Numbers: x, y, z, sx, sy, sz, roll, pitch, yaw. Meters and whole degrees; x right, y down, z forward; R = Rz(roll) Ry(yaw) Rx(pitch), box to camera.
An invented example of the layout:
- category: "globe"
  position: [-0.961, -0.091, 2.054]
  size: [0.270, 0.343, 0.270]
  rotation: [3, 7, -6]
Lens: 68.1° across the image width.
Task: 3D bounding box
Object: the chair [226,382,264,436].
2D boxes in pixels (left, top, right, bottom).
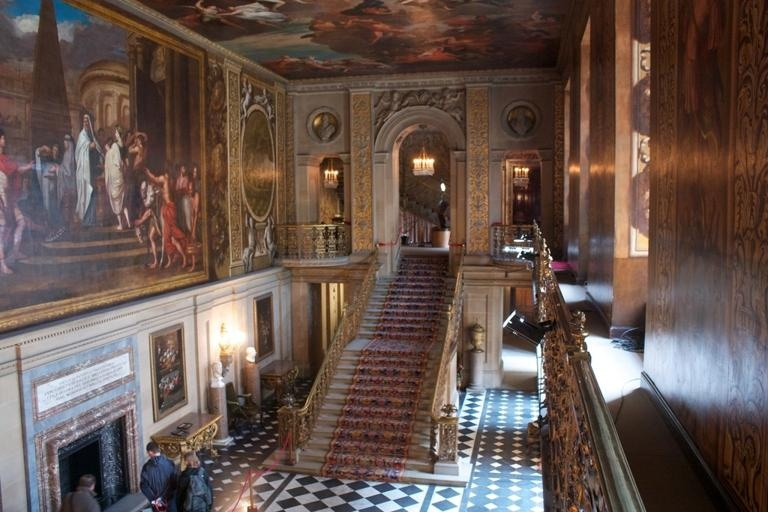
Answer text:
- category: "chair"
  position: [-3.744, 3.952, 14.791]
  size: [1.089, 1.391, 0.991]
  rotation: [1, 7, 15]

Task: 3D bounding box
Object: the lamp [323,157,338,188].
- category: "lamp"
  position: [-1.942, -3.121, 21.235]
  size: [0.653, 1.159, 2.673]
  rotation: [-1, 8, -5]

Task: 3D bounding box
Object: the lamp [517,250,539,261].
- category: "lamp"
  position: [3.974, 0.008, 16.087]
  size: [0.116, 0.336, 0.475]
  rotation: [10, -10, -43]

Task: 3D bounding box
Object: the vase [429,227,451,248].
- category: "vase"
  position: [2.234, -0.748, 22.749]
  size: [0.697, 0.792, 0.697]
  rotation: [1, 1, -26]

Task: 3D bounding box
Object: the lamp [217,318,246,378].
- category: "lamp"
  position: [-3.954, 2.368, 14.351]
  size: [0.457, 1.318, 0.831]
  rotation: [3, 9, 26]
